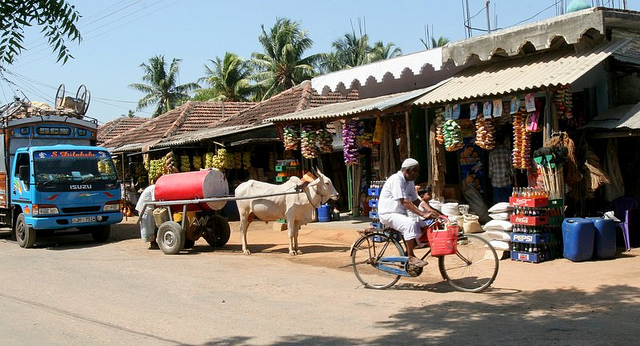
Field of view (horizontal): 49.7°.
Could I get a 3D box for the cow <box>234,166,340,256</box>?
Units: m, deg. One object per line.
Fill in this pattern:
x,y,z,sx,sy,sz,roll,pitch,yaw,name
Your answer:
-1.070,1.218,21.970,3.554,2.531,1.094,-2,-4,20,cow

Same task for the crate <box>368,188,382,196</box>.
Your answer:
1.762,0.629,22.485,0.229,0.286,0.943,-1,-4,-16,crate

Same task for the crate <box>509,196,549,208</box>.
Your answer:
6.058,0.849,19.915,1.089,0.337,0.404,-3,-4,13,crate

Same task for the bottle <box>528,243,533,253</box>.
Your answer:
6.066,2.174,19.868,0.127,0.234,0.036,-4,-3,23,bottle

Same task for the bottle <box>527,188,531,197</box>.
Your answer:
6.052,0.567,19.936,0.085,0.245,0.208,-3,-4,17,bottle

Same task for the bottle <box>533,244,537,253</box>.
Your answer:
6.183,2.175,19.801,0.112,0.250,0.062,-3,-3,13,bottle

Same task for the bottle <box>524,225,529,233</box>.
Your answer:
5.969,1.626,19.904,0.120,0.218,0.032,-5,-4,38,bottle

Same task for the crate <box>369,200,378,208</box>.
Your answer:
1.757,1.024,22.626,0.162,0.259,0.763,-2,-4,-12,crate

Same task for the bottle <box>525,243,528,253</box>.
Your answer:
5.967,2.188,19.922,0.077,0.250,0.082,-2,-3,0,bottle

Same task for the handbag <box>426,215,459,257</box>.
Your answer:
3.200,1.644,18.027,0.808,1.067,0.325,-3,-3,6,handbag

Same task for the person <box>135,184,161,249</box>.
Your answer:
-5.662,1.435,22.885,0.873,2.264,0.873,3,1,13,person

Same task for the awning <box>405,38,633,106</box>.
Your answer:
6.487,-3.119,21.642,2.985,0.771,4.191,-9,0,-44,awning
